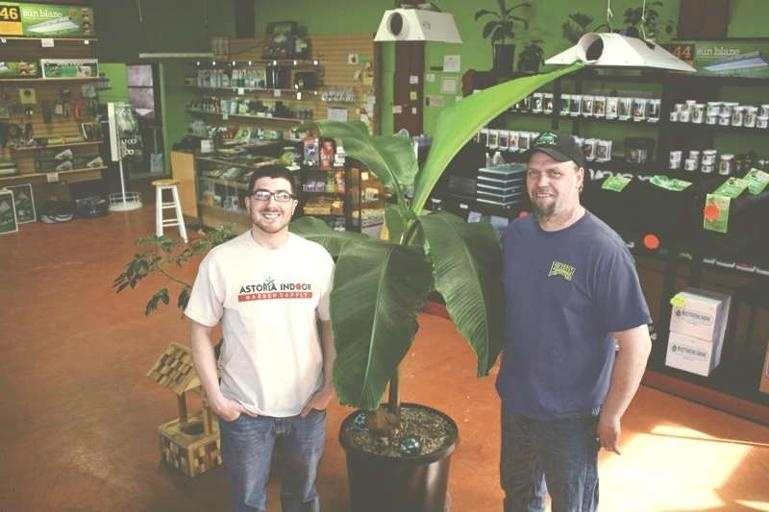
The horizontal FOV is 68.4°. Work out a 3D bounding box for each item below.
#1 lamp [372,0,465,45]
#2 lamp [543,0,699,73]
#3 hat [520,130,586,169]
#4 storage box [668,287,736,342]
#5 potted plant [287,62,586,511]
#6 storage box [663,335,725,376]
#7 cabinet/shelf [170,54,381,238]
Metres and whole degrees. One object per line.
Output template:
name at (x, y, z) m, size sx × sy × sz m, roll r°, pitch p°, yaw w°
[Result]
lamp at (0.383, -2.272, 5.719) m, size 0.574 × 0.262 × 0.589 m, roll 10°, pitch 18°, yaw 33°
lamp at (2.423, -2.155, 5.629) m, size 1.195 × 0.694 × 1.579 m, roll 9°, pitch 20°, yaw 33°
hat at (0.983, -0.596, 3.223) m, size 0.264 × 0.138 × 0.193 m, roll 13°, pitch 7°, yaw -40°
storage box at (2.989, 0.489, 5.355) m, size 0.450 × 0.351 × 0.474 m, roll 14°, pitch 17°, yaw 36°
potted plant at (0.376, 0.078, 5.069) m, size 2.560 × 3.801 × 2.666 m, roll -1°, pitch 6°, yaw -23°
storage box at (2.864, 0.943, 5.300) m, size 0.401 × 0.301 × 0.398 m, roll 15°, pitch -5°, yaw 37°
cabinet/shelf at (-1.587, -1.702, 8.479) m, size 3.386 × 3.216 × 1.108 m, roll 11°, pitch 16°, yaw 38°
